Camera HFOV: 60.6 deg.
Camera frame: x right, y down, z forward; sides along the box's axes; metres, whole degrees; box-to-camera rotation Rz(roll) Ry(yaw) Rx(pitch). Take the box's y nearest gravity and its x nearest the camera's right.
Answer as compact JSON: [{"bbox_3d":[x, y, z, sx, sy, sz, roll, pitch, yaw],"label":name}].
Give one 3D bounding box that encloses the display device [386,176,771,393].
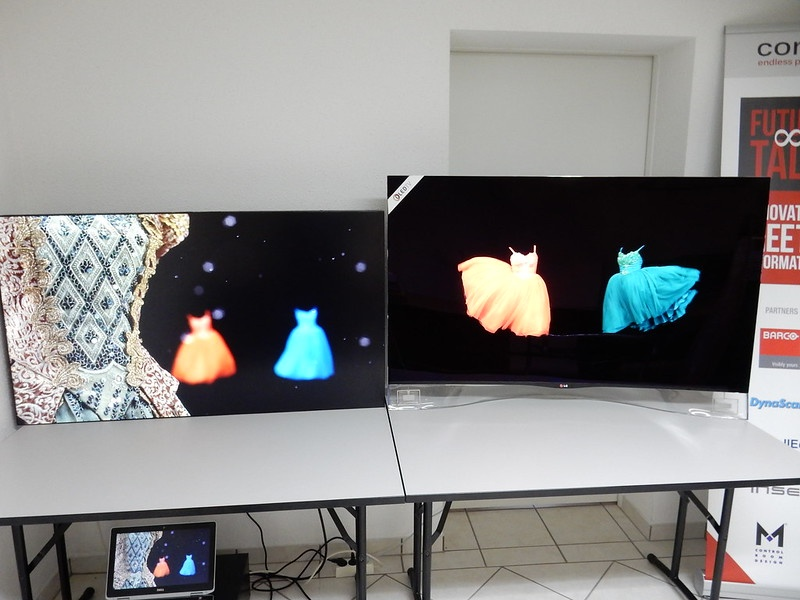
[{"bbox_3d":[0.805,-0.077,3.166,1.730,1.045,0.105,-2,12,3],"label":"display device"}]
